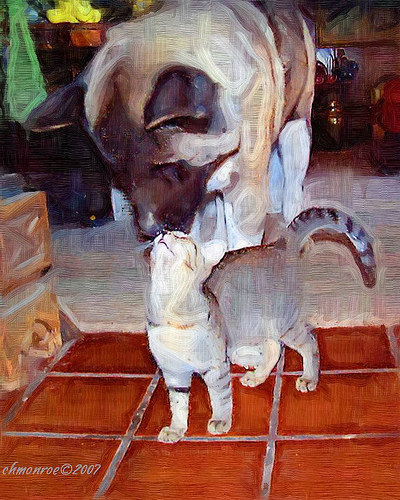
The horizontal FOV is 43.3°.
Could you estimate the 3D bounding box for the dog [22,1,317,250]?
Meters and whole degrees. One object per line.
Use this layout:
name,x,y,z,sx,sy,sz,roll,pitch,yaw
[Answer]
dog,-0.010,-0.444,1.406,0.472,0.603,0.852,18,50,33
